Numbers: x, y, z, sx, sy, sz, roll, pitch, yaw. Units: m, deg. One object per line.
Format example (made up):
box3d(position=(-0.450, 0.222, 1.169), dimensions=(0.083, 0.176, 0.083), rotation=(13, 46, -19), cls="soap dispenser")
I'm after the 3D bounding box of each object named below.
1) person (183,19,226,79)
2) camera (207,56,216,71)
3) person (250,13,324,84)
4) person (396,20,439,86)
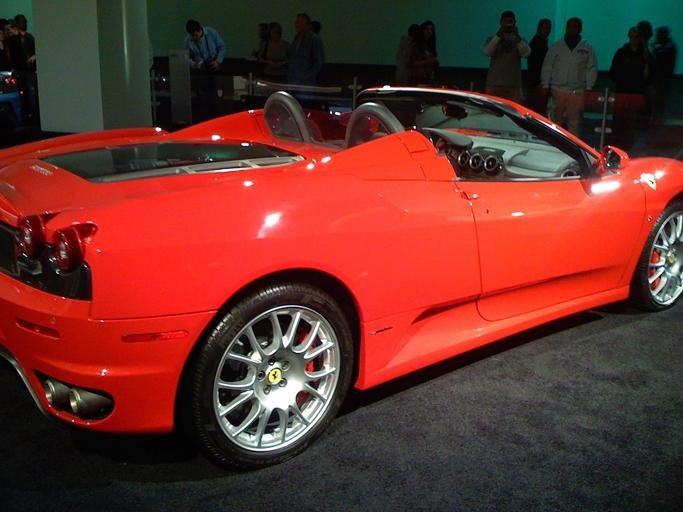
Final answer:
box3d(position=(-2.941, -4.458, 10.666), dimensions=(0.805, 0.980, 1.173), rotation=(-6, 24, -15), cls="person")
box3d(position=(-2.762, -4.065, 10.582), dimensions=(0.287, 0.281, 0.514), rotation=(-5, 24, -13), cls="camera")
box3d(position=(-1.074, -4.161, 10.087), dimensions=(0.725, 1.265, 1.614), rotation=(-20, 31, -40), cls="person")
box3d(position=(1.474, -3.877, 9.586), dimensions=(0.809, 1.116, 0.900), rotation=(1, 23, 2), cls="person")
